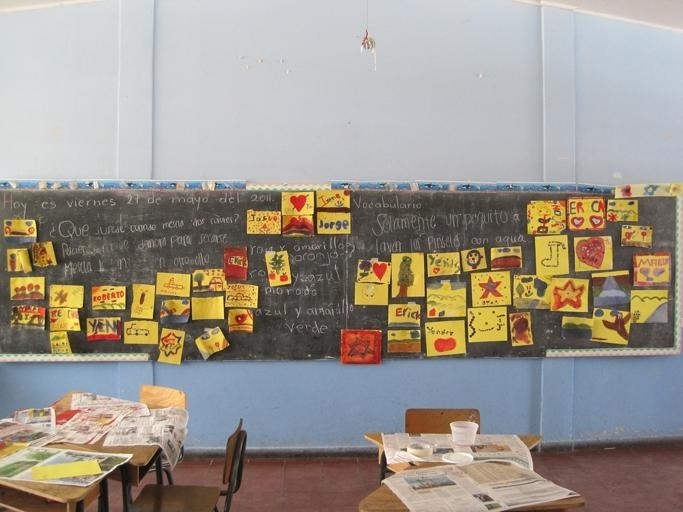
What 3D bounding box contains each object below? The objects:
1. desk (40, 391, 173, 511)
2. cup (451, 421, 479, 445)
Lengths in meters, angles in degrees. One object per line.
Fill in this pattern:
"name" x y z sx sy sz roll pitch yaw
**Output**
"desk" -1.412 1.310 6.103 0.928 0.444 0.688 3 -2 17
"cup" 0.783 1.129 5.935 0.157 0.093 0.151 -1 -5 0
